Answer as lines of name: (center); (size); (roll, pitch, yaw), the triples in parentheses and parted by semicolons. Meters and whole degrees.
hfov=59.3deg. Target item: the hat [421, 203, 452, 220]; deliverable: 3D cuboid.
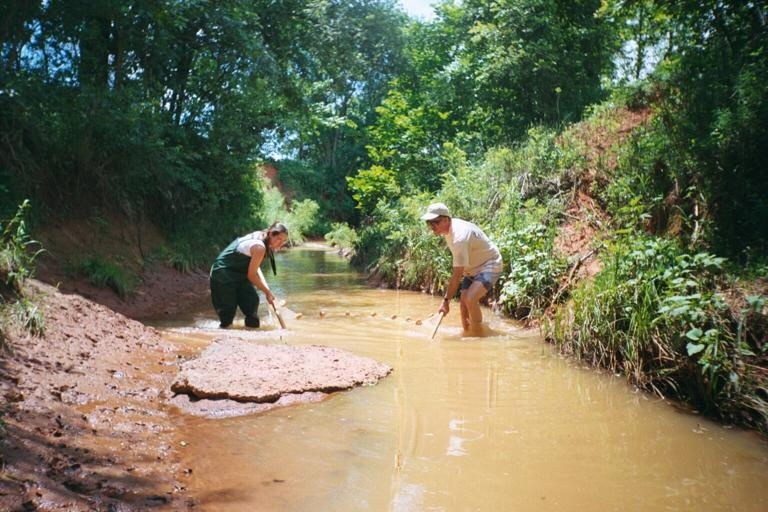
hat: (0.989, -0.832, 12.641); (0.529, 0.292, 0.361); (0, 4, -19)

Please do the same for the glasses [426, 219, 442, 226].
glasses: (0.918, -0.614, 12.706); (0.149, 0.123, 0.355); (-2, 7, -25)

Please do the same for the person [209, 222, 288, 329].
person: (-2.690, 0.534, 13.419); (1.419, 2.539, 1.011); (3, 21, -9)
